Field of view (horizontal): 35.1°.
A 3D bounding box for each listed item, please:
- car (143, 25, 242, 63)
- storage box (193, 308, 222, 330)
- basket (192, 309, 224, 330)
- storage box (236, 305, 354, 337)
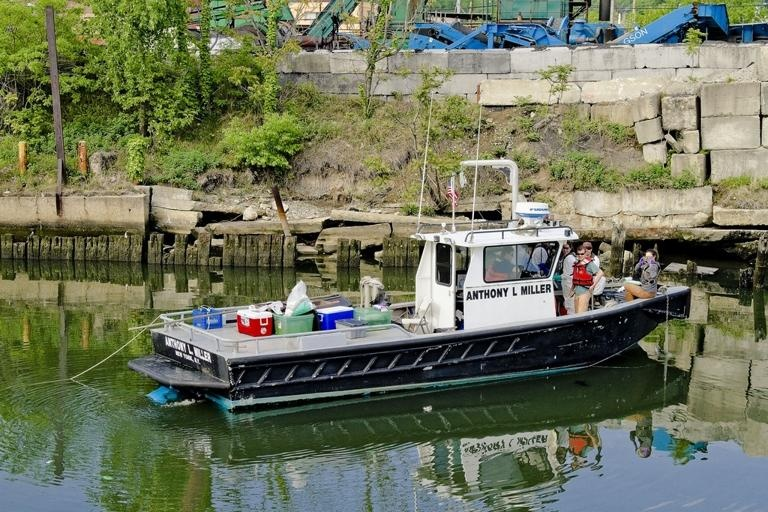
[{"bbox_3d":[-6.722,-8.311,46.873,2.575,1.273,4.482,-1,3,4],"label":"car"},{"bbox_3d":[-4.354,1.535,29.759,0.564,0.360,0.568,3,5,-1],"label":"storage box"},{"bbox_3d":[-4.338,1.539,29.795,0.557,0.339,0.558,2,7,-2],"label":"basket"},{"bbox_3d":[-2.250,1.574,29.477,2.586,0.630,0.698,-1,3,-8],"label":"storage box"}]
